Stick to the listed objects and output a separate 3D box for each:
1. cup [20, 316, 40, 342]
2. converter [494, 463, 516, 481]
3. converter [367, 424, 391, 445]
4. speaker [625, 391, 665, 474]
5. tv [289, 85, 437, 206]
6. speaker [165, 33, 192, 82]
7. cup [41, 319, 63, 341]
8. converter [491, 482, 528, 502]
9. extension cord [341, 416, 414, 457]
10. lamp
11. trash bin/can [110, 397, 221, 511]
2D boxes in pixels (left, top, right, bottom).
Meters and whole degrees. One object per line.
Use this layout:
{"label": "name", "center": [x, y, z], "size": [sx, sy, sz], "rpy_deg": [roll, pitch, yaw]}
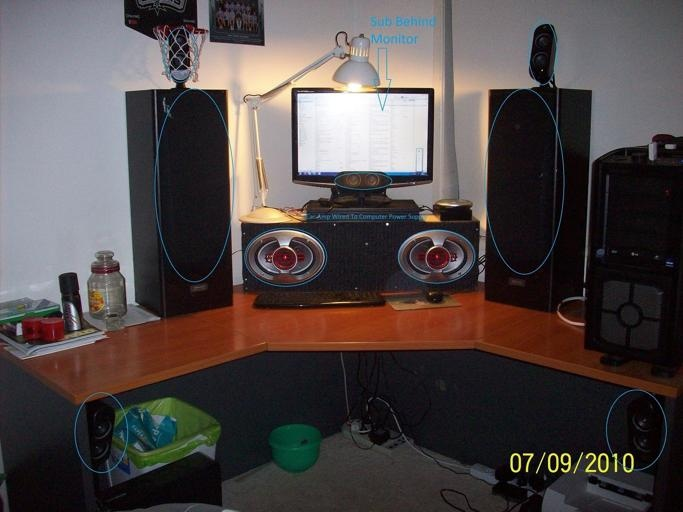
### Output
{"label": "cup", "center": [-0.960, 0.227, 1.666], "size": [0.058, 0.068, 0.064], "rpy_deg": [1, 4, 0]}
{"label": "converter", "center": [0.689, 0.902, 2.246], "size": [0.092, 0.098, 0.032], "rpy_deg": [1, 2, 7]}
{"label": "converter", "center": [0.188, 0.855, 2.606], "size": [0.093, 0.096, 0.054], "rpy_deg": [-2, 8, -26]}
{"label": "speaker", "center": [0.843, 0.508, 1.488], "size": [0.061, 0.251, 0.110], "rpy_deg": [-3, 13, -3]}
{"label": "tv", "center": [0.091, -0.458, 2.171], "size": [0.498, 0.365, 0.155], "rpy_deg": [0, 13, 1]}
{"label": "speaker", "center": [-0.581, -0.704, 1.927], "size": [0.091, 0.214, 0.043], "rpy_deg": [0, -1, -6]}
{"label": "cup", "center": [-0.891, 0.227, 1.661], "size": [0.051, 0.053, 0.070], "rpy_deg": [2, -1, 8]}
{"label": "converter", "center": [0.699, 0.964, 2.201], "size": [0.074, 0.018, 0.072], "rpy_deg": [5, 9, 34]}
{"label": "extension cord", "center": [0.143, 0.880, 2.606], "size": [0.253, 0.053, 0.128], "rpy_deg": [12, 20, 36]}
{"label": "lamp", "center": [-0.154, -0.554, 2.217], "size": [0.568, 0.742, 0.489], "rpy_deg": [-5, 13, -11]}
{"label": "trash bin/can", "center": [-0.603, 0.678, 1.844], "size": [0.372, 0.270, 0.434], "rpy_deg": [-9, 15, -26]}
